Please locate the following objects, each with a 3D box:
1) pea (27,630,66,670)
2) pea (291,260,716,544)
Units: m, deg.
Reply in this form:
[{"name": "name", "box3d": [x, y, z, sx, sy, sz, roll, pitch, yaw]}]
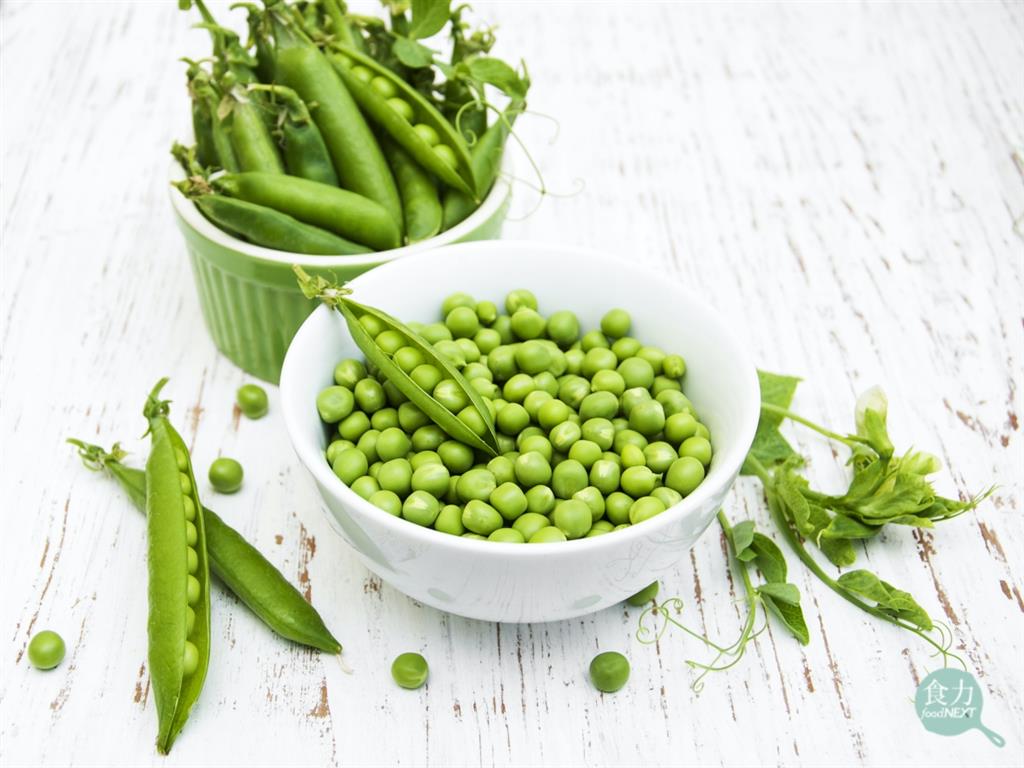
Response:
[{"name": "pea", "box3d": [-1.174, 0.674, 2.471, 0.075, 0.082, 0.100, 10, 18, -13]}, {"name": "pea", "box3d": [-0.067, 0.062, 2.588, 0.893, 0.751, 0.748, -10, 22, -19]}]
